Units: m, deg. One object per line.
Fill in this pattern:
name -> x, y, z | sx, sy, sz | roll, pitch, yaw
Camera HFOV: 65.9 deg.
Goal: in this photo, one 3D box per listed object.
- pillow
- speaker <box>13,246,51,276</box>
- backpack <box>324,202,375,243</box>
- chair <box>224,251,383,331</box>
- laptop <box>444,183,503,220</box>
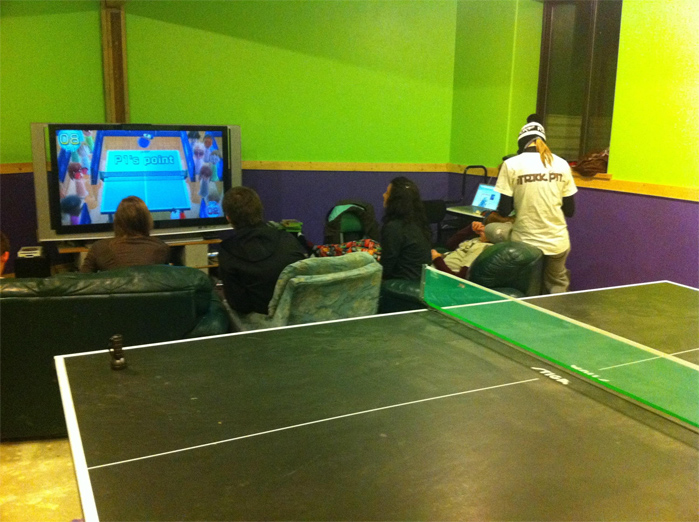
pillow -> -0.158, 0.087, 2.914 | 0.405, 0.391, 0.426 | -5, 15, -22
speaker -> -2.237, 0.001, 3.827 | 0.226, 0.216, 0.315 | -2, 0, -21
backpack -> 0.001, -0.282, 4.622 | 0.326, 0.403, 0.400 | 1, -1, 0
chair -> -0.214, 0.096, 2.960 | 0.513, 0.495, 0.545 | -7, 14, -22
laptop -> 1.389, -0.627, 5.849 | 0.441, 0.280, 0.597 | -7, 11, -29
